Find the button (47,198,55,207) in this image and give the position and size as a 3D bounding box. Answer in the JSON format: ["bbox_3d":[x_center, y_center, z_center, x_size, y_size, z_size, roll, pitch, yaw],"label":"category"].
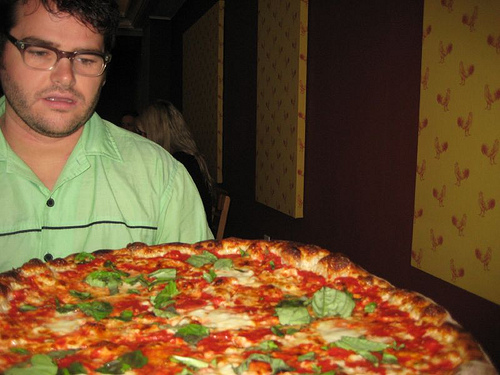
[{"bbox_3d":[-0.865,0.065,1.698,0.008,0.026,0.027,0,-3,41],"label":"button"}]

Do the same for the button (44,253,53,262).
[{"bbox_3d":[-0.870,0.301,1.683,0.031,0.032,0.011,-11,2,-17],"label":"button"}]

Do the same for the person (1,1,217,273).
[{"bbox_3d":[-0.679,-0.203,1.812,0.835,0.811,0.479,4,-3,-33],"label":"person"}]
